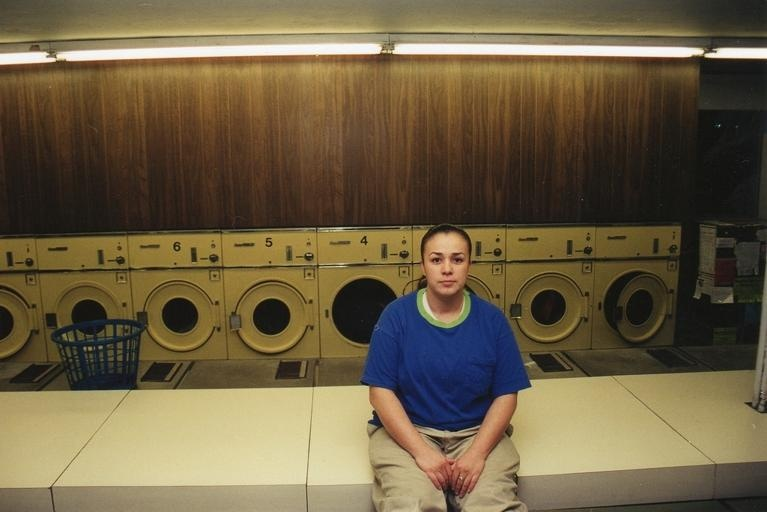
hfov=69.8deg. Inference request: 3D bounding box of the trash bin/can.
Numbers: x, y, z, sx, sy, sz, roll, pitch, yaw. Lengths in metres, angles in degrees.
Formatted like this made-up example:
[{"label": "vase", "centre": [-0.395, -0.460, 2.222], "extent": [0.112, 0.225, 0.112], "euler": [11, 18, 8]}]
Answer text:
[{"label": "trash bin/can", "centre": [-2.791, 0.947, 5.310], "extent": [0.879, 0.625, 0.865], "euler": [2, 5, 4]}]
